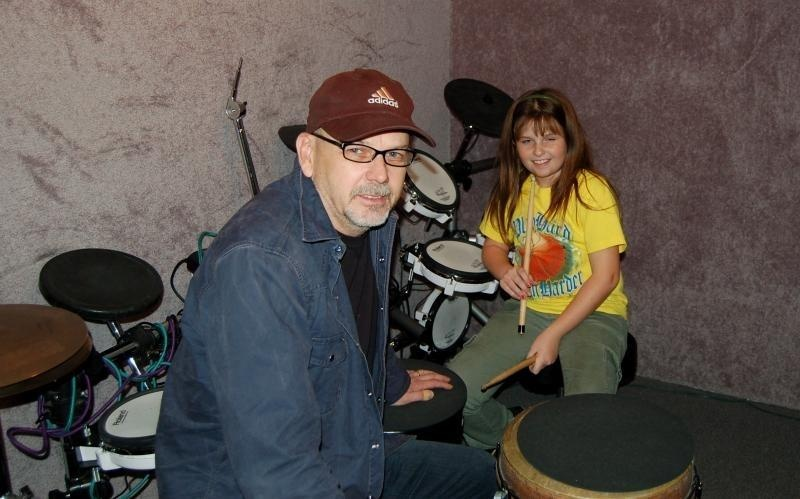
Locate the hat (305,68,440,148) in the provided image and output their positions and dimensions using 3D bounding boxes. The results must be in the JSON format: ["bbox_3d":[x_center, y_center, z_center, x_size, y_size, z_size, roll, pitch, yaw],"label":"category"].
[{"bbox_3d":[-0.127,-0.525,2.528,0.291,0.196,0.376,-7,13,-41],"label":"hat"}]

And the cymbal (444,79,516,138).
[{"bbox_3d":[0.466,-0.893,4.179,0.432,0.101,0.436,43,48,16],"label":"cymbal"}]
